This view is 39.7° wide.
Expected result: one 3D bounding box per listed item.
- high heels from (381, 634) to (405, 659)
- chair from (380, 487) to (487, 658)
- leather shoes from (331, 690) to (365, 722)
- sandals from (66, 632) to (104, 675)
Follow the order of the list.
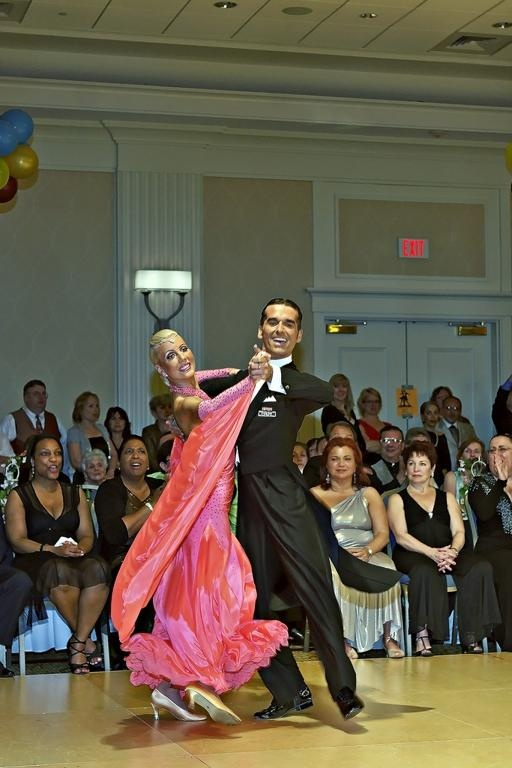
[{"bbox_3d":[0.736,1.410,3.762,0.062,0.043,0.165,0,-5,-3],"label":"high heels"},{"bbox_3d":[1.081,0.978,4.225,0.434,1.101,0.610,-4,-13,-3],"label":"chair"},{"bbox_3d":[0.278,0.971,2.176,0.069,0.038,0.112,-40,26,-2],"label":"leather shoes"},{"bbox_3d":[-0.848,1.335,3.466,0.097,0.105,0.270,-4,-15,-8],"label":"sandals"}]
